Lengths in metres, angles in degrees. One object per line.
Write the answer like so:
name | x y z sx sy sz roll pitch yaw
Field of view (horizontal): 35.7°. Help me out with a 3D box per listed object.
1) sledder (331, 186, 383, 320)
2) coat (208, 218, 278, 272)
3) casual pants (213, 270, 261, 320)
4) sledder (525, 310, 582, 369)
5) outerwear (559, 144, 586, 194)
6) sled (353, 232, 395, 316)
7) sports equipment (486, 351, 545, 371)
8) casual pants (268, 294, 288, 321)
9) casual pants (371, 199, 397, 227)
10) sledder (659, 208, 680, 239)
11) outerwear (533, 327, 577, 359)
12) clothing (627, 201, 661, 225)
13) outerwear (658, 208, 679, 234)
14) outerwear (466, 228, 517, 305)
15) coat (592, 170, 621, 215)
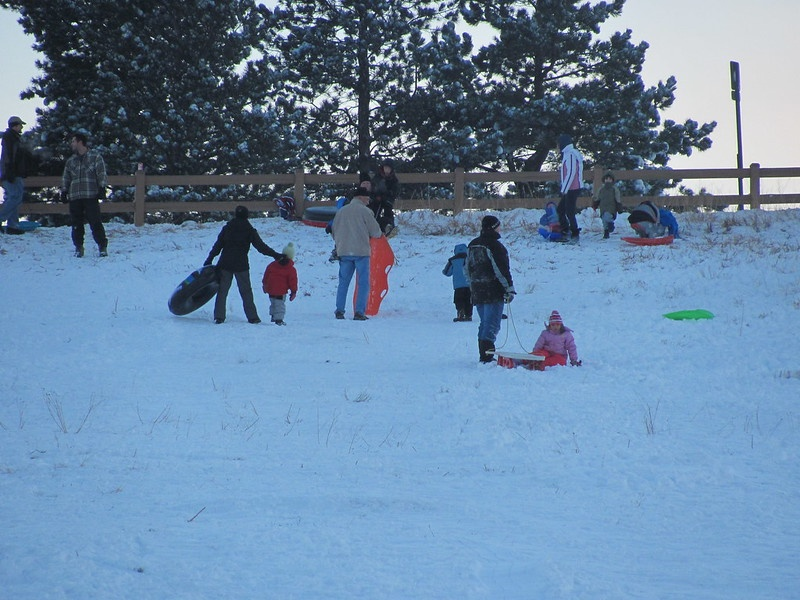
sledder | -0.849 -0.791 22.636 0.904 2.498 0.849 -1 -13 11
coat | -2.872 -0.931 21.777 1.100 0.897 0.497 -1 14 -8
casual pants | -2.989 -0.032 22.312 0.993 0.433 1.741 4 -26 -7
sledder | 2.516 0.730 20.187 1.113 1.205 0.757 1 4 11
outerwear | 3.693 -2.812 27.128 0.444 1.081 0.540 2 14 5
sled | -0.440 -0.447 23.096 0.582 1.687 0.160 10 -10 -24
sports equipment | 1.873 0.989 19.790 0.850 0.235 0.319 5 15 13
casual pants | -2.189 0.167 21.924 0.430 0.626 0.217 0 -5 7
casual pants | -0.321 -1.817 25.902 0.519 0.783 0.473 -8 14 -22
sledder | 5.874 -1.689 27.823 0.500 0.674 0.236 1 -21 -20
outerwear | 2.476 0.742 20.014 0.796 0.682 0.452 5 -8 12
clothing | 5.369 -1.887 27.614 0.652 0.517 0.288 4 14 9
outerwear | 6.008 -1.695 27.992 0.465 0.627 1.199 4 15 12
outerwear | 1.427 -0.472 20.046 0.818 1.201 0.410 5 15 16
coat | 4.609 -2.319 27.867 0.575 1.065 0.890 3 15 9
